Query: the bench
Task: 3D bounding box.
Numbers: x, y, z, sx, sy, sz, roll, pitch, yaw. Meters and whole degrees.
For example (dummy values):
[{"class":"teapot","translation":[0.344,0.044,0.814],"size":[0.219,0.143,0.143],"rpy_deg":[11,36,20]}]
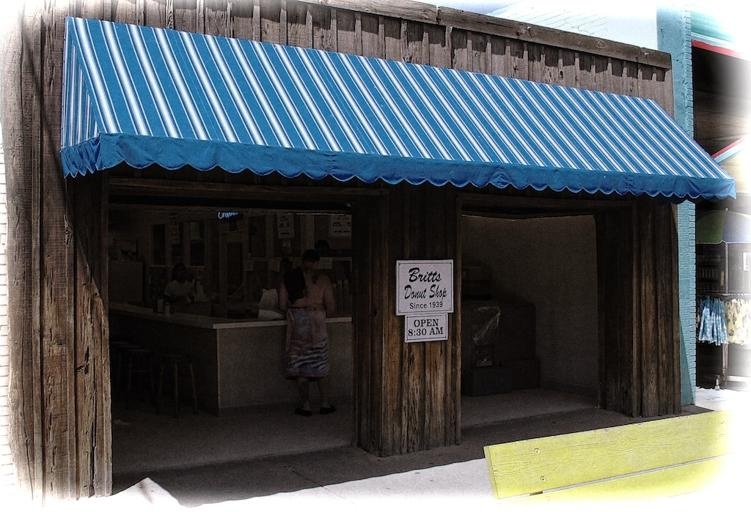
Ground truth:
[{"class":"bench","translation":[2.245,1.852,7.072],"size":[2.862,0.767,0.175],"rpy_deg":[-4,0,-24]}]
